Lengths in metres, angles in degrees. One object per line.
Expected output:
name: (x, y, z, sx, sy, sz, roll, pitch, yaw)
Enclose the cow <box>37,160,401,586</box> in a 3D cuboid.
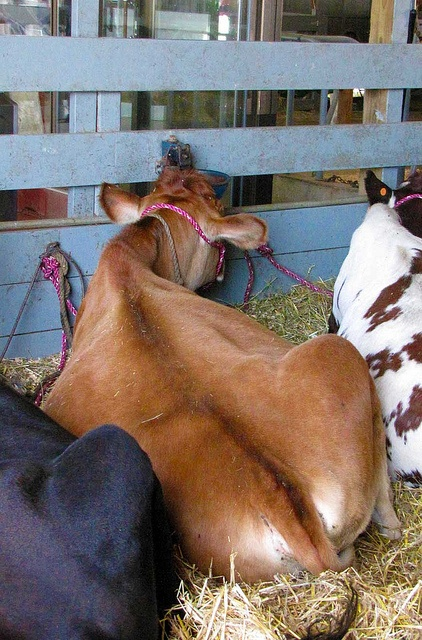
cow: (-0.001, 0.115, 1.734, 0.710, 0.695, 1.526, -22, 37, 0)
